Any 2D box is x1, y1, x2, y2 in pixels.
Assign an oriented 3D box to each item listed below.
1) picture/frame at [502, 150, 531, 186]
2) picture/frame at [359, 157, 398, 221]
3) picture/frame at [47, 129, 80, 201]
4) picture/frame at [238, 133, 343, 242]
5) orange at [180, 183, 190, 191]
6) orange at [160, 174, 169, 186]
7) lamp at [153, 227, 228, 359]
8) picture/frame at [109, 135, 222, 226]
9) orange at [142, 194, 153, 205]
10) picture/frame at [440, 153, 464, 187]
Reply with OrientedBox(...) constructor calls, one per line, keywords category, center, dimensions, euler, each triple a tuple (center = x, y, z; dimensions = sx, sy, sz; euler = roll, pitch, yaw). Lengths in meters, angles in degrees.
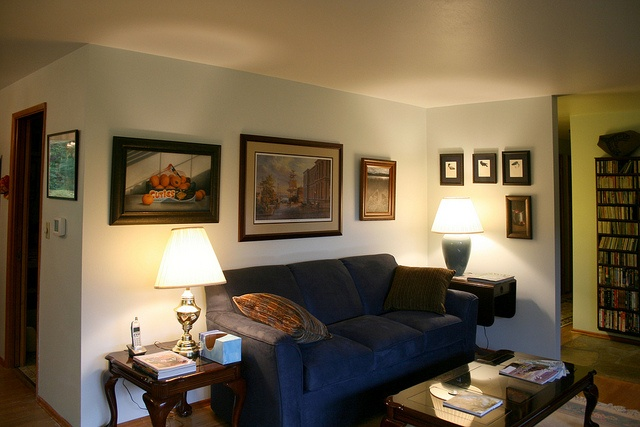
OrientedBox(category="picture/frame", center=(2.418, -0.559, 5.454), dimensions=(0.441, 0.577, 0.077), euler=(0, -2, 42))
OrientedBox(category="picture/frame", center=(0.703, -0.306, 5.549), dimensions=(0.817, 0.947, 0.071), euler=(1, -2, -43))
OrientedBox(category="picture/frame", center=(-2.319, -0.438, 4.046), dimensions=(0.028, 0.628, 0.669), euler=(2, 1, -45))
OrientedBox(category="picture/frame", center=(-0.366, -0.280, 4.809), dimensions=(1.231, 1.017, 0.055), euler=(3, -2, -35))
OrientedBox(category="orange", center=(-1.275, -0.252, 4.221), dimensions=(0.063, 0.066, 0.076), euler=(-2, 16, 11))
OrientedBox(category="orange", center=(-1.440, -0.307, 4.132), dimensions=(0.087, 0.109, 0.093), euler=(5, -2, 42))
OrientedBox(category="lamp", center=(-1.099, 0.667, 3.785), dimensions=(0.559, 1.082, 0.248), euler=(-2, 4, -22))
OrientedBox(category="picture/frame", center=(-1.472, -0.304, 4.117), dimensions=(0.887, 0.696, 0.064), euler=(-1, 6, -33))
OrientedBox(category="orange", center=(-1.566, -0.127, 4.059), dimensions=(0.083, 0.083, 0.084), euler=(-25, 1, 39))
OrientedBox(category="picture/frame", center=(1.753, -0.585, 5.891), dimensions=(0.426, 0.580, 0.058), euler=(3, 5, 37))
